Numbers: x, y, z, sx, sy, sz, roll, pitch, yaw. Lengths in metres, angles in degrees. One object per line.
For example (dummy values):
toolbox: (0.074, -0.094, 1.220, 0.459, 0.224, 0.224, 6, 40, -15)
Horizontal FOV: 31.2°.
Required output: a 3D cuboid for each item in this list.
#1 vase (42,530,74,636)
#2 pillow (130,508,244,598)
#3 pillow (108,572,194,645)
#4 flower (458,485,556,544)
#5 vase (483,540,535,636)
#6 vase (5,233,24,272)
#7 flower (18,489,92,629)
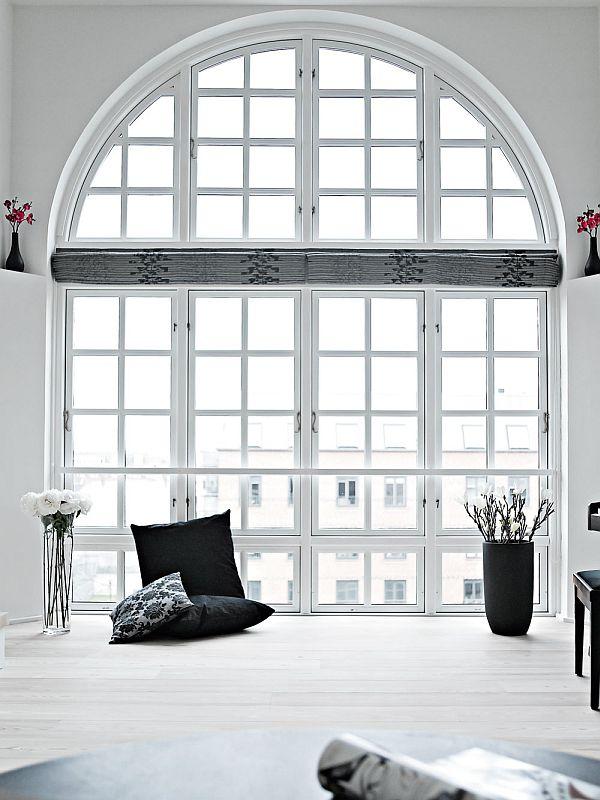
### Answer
vase: (-1.263, 0.928, 5.595, 0.150, 0.556, 0.156, -8, -14, 18)
pillow: (-0.624, 0.913, 5.735, 0.590, 0.264, 0.679, 4, 33, -11)
pillow: (-0.749, 1.039, 5.383, 0.398, 0.273, 0.287, 0, 2, -10)
flower: (1.073, 0.605, 5.720, 0.437, 0.342, 0.464, 0, -5, -30)
vase: (1.087, 0.962, 5.592, 0.259, 0.469, 0.277, -1, -3, -7)
vase: (-1.589, -0.816, 5.968, 0.113, 0.222, 0.130, 1, 2, 18)
flower: (-1.285, 0.813, 5.638, 0.350, 0.728, 0.447, 0, 2, -15)
